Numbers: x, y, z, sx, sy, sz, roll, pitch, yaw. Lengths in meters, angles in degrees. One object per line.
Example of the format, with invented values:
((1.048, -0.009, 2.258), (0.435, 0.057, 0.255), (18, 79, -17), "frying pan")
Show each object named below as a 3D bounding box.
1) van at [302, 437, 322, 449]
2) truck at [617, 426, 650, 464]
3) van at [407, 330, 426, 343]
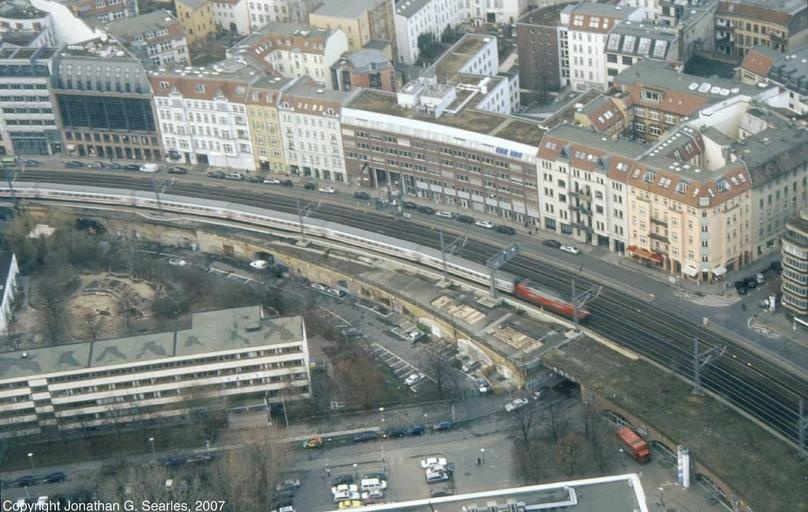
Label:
((-18.789, 38.578, 265.457), (3.769, 1.618, 1.944), (-3, 38, 5), "van")
((46.702, 38.161, 259.340), (4.163, 4.009, 8.178), (-29, 45, -19), "truck")
((2.860, 17.953, 286.527), (3.886, 1.040, 2.311), (-25, 42, -33), "van")
